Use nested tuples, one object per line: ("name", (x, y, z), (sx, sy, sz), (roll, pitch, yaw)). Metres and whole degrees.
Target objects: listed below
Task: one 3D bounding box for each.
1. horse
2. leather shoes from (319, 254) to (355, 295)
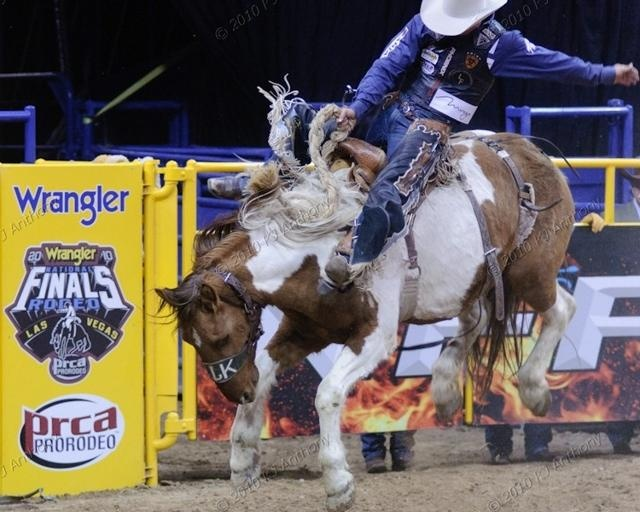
("horse", (0.374, 0.387, 9.201), (2.762, 2.441, 1.039), (-3, 7, -29))
("leather shoes", (0.124, 0.139, 8.698), (0.113, 0.269, 0.159), (-21, 56, -37))
